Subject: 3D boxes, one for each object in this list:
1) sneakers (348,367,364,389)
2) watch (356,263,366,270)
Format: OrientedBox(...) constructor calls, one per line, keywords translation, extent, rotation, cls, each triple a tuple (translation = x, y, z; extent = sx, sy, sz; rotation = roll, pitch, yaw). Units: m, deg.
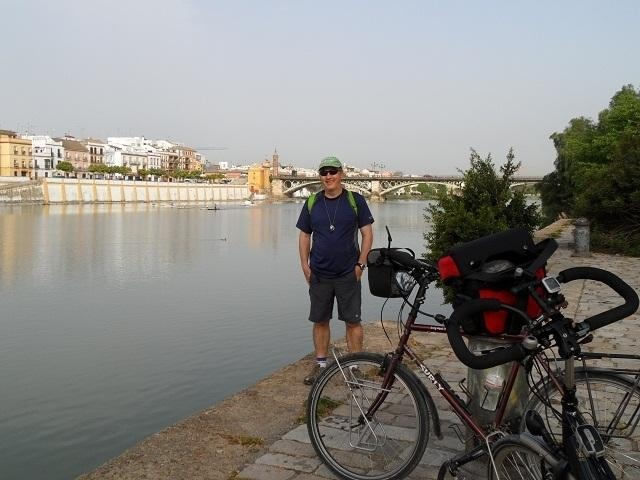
OrientedBox(translation=(0.215, 0.864, 2.901), extent=(0.100, 0.121, 0.040), rotation=(5, 2, 11), cls="sneakers")
OrientedBox(translation=(0.445, 0.267, 4.802), extent=(0.096, 0.057, 0.093), rotation=(33, -28, -29), cls="watch")
